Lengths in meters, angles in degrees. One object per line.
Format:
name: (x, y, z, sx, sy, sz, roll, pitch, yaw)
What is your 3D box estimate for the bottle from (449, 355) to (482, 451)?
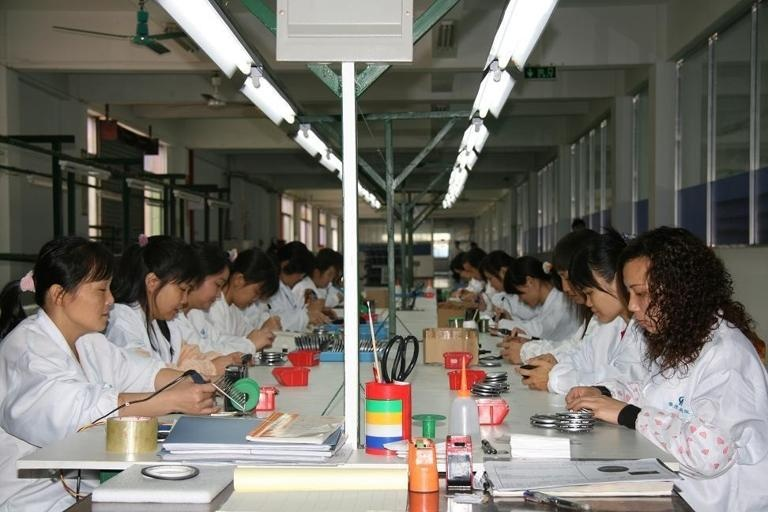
bottle: (0.270, 0.484, 2.221, 0.107, 0.281, 0.364, 0, -5, 7)

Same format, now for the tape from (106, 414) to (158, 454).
tape: (-0.874, 0.604, 2.248, 0.169, 0.106, 0.169, 3, -8, -15)

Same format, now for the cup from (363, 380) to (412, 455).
cup: (0.010, 0.531, 2.182, 0.150, 0.228, 0.094, 1, -5, 0)
